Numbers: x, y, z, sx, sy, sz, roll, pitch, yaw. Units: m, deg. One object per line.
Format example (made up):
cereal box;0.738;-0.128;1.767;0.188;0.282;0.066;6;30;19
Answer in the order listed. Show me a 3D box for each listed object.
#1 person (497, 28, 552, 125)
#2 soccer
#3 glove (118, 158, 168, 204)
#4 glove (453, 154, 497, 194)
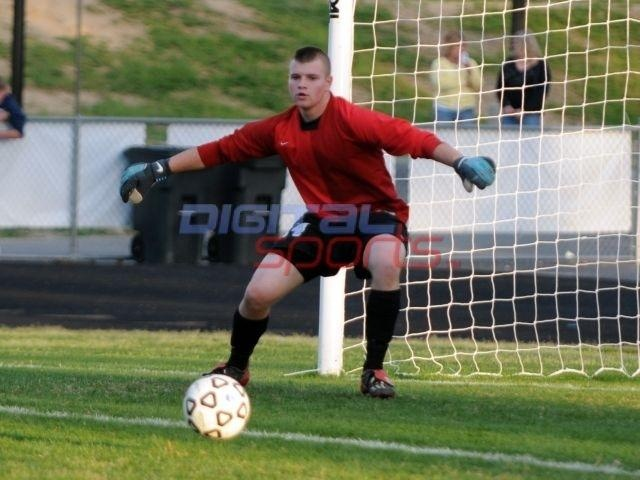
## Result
person;2.725;-2.125;17.653;0.648;1.608;0.611;-11;20;-32
soccer;-1.080;1.721;13.838;0.817;0.624;0.618;14;-5;-11
glove;-1.940;-0.666;14.342;0.348;0.523;0.387;9;19;29
glove;1.617;-0.697;13.786;0.371;0.397;0.346;1;6;20
